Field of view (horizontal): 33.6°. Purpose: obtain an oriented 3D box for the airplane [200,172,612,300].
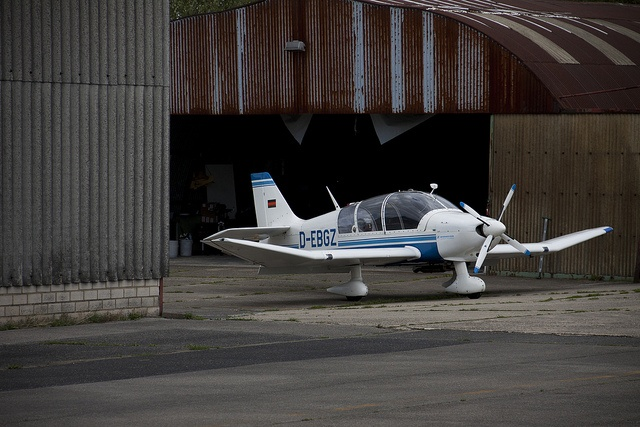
[{"bbox_3d":[1.167,0.604,24.192,6.876,2.312,4.183,3,11,19],"label":"airplane"}]
